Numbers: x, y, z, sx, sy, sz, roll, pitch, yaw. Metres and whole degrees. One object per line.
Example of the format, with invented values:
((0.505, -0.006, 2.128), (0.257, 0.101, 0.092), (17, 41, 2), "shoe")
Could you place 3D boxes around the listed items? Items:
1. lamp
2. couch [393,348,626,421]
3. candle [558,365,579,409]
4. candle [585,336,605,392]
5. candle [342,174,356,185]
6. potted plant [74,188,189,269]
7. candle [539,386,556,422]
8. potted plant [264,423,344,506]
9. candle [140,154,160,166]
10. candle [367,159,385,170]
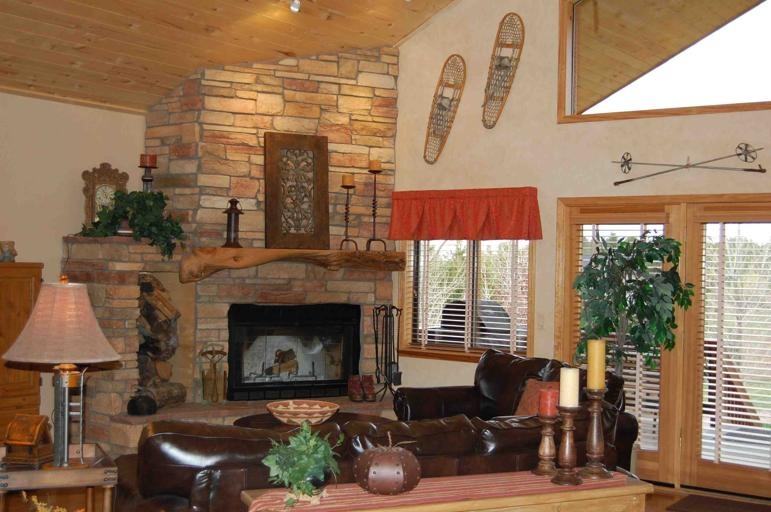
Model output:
((-2.088, 0.749, 4.242), (0.658, 1.260, 0.363), (1, 0, -21), "lamp")
((1.127, 1.137, 5.763), (0.720, 0.653, 1.208), (8, -8, -32), "couch")
((1.083, 0.779, 3.864), (0.108, 0.226, 0.160), (1, -1, 13), "candle")
((1.252, 0.650, 3.896), (0.094, 0.285, 0.149), (1, 0, 15), "candle")
((-0.416, -0.869, 7.462), (0.148, 0.117, 0.137), (2, 2, 7), "candle")
((-2.538, -0.267, 6.724), (0.964, 0.585, 0.763), (4, 8, -7), "potted plant")
((0.987, 0.884, 3.929), (0.112, 0.153, 0.116), (-1, -1, 41), "candle")
((-0.456, 1.111, 3.609), (0.383, 0.448, 0.408), (1, -1, -3), "potted plant")
((-2.457, -0.986, 6.845), (0.167, 0.103, 0.159), (1, 0, -27), "candle")
((-0.118, -1.060, 7.576), (0.147, 0.092, 0.135), (1, -1, -1), "candle")
